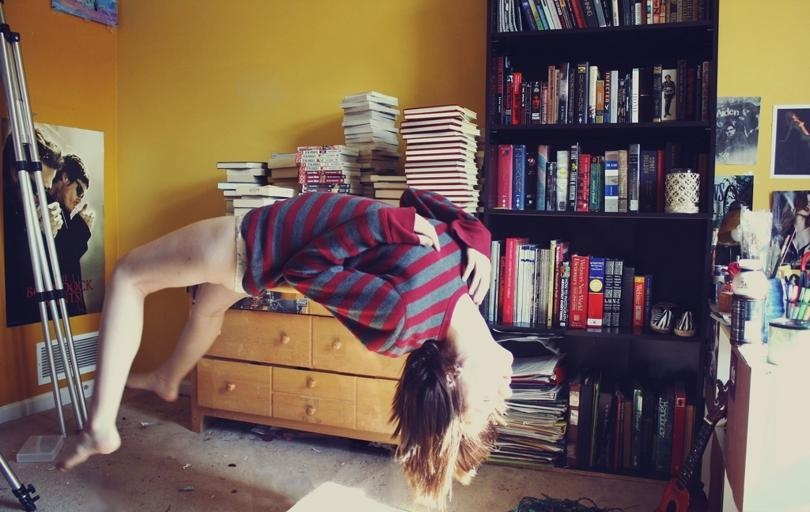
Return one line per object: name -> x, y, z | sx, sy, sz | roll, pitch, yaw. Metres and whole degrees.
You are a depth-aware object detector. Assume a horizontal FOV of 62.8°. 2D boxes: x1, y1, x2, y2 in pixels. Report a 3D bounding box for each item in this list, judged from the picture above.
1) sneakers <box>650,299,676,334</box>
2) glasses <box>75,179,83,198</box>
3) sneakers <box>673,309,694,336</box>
sneakers -> 1.521, 0.376, 3.926 | 0.105, 0.113, 0.186 | 5, 11, 23
glasses -> -2.362, -0.475, 4.822 | 0.029, 0.094, 0.091 | 0, -5, -36
sneakers -> 1.636, 0.410, 3.955 | 0.137, 0.137, 0.123 | 1, -1, 39
